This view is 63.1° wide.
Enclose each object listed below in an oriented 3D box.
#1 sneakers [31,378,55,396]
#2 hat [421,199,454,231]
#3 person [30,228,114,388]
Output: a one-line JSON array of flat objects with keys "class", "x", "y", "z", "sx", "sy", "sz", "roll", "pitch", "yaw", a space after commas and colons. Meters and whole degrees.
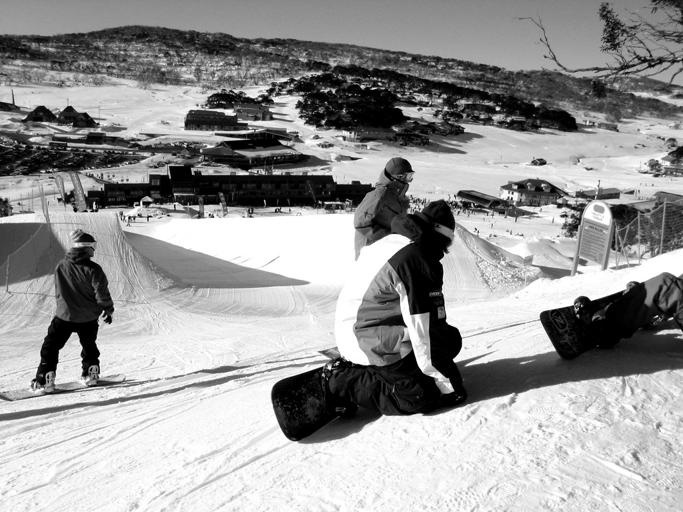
[{"class": "sneakers", "x": -2.384, "y": 1.028, "z": 4.371, "sx": 0.190, "sy": 0.078, "sz": 0.152, "roll": -11, "pitch": 10, "yaw": -11}, {"class": "hat", "x": 0.522, "y": -0.216, "z": 2.938, "sx": 0.180, "sy": 0.163, "sz": 0.134, "roll": 1, "pitch": 10, "yaw": -28}, {"class": "person", "x": -2.205, "y": 0.456, "z": 4.428, "sx": 0.710, "sy": 1.261, "sz": 0.388, "roll": -14, "pitch": 12, "yaw": -20}]
